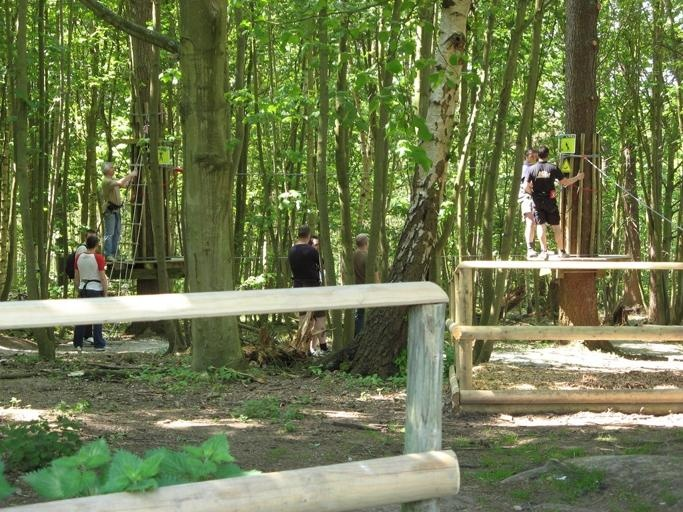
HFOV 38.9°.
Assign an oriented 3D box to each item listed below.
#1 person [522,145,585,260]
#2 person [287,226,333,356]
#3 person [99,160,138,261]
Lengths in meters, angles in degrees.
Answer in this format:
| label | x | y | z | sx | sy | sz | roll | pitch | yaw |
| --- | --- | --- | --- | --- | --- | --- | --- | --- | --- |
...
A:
| label | x | y | z | sx | sy | sz | roll | pitch | yaw |
| --- | --- | --- | --- | --- | --- | --- | --- | --- | --- |
| person | 3.862 | -0.998 | 17.921 | 0.956 | 2.070 | 1.324 | -1 | -1 | 22 |
| person | -0.617 | 0.609 | 17.835 | 0.686 | 2.325 | 1.185 | -1 | -1 | -1 |
| person | -4.767 | -0.945 | 20.484 | 0.596 | 1.998 | 1.452 | 0 | -1 | -14 |
